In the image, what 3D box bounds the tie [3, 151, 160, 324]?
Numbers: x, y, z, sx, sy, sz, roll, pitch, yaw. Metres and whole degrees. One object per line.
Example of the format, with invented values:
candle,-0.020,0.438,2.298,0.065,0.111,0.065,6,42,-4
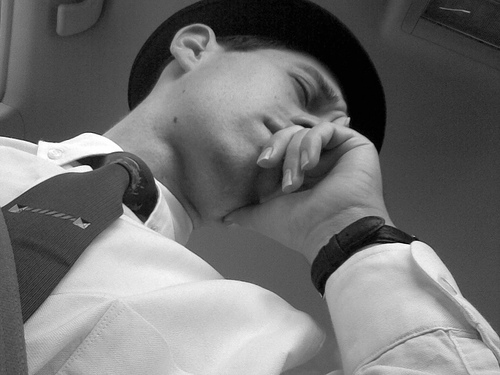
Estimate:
tie,-0.254,0.031,0.848,0.115,0.094,0.337,52,27,-13
